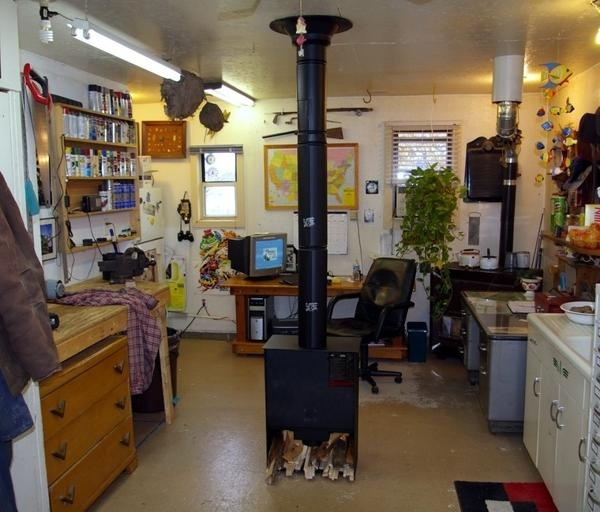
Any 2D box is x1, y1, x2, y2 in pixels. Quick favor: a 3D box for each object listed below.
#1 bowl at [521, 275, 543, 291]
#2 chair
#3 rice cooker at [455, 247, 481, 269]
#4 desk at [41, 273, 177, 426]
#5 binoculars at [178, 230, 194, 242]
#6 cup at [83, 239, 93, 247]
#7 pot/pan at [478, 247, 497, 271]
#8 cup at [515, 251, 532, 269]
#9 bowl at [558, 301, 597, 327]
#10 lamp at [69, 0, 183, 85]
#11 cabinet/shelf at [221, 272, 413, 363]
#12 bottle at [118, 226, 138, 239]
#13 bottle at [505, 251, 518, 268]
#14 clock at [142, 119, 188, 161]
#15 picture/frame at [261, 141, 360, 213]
[{"bbox_3d":[2.150,0.260,4.794,0.145,0.121,0.158,1,-4,0],"label":"bowl"},{"bbox_3d":[0.698,0.660,4.993,0.831,1.221,0.782,0,10,4],"label":"chair"},{"bbox_3d":[1.833,0.020,5.601,0.249,0.205,0.203,1,-2,8],"label":"rice cooker"},{"bbox_3d":[-1.313,0.641,3.514,0.555,0.814,1.130,0,7,4],"label":"desk"},{"bbox_3d":[-1.460,-0.242,6.532,0.211,0.160,0.059,1,10,10],"label":"binoculars"},{"bbox_3d":[-1.923,-0.116,4.659,0.061,0.048,0.064,0,-2,0],"label":"cup"},{"bbox_3d":[1.999,0.077,5.452,0.185,0.136,0.191,4,11,27],"label":"pot/pan"},{"bbox_3d":[2.342,0.044,5.415,0.150,0.207,0.193,0,-1,-19],"label":"cup"},{"bbox_3d":[1.791,0.354,3.320,0.184,0.110,0.389,4,11,28],"label":"bowl"},{"bbox_3d":[-1.177,-1.420,3.485,0.276,0.273,1.224,1,10,13],"label":"lamp"},{"bbox_3d":[0.181,0.707,6.023,1.994,1.080,0.812,-2,11,7],"label":"cabinet/shelf"},{"bbox_3d":[-1.810,-0.241,5.388,0.063,0.084,0.201,0,-1,12],"label":"bottle"},{"bbox_3d":[2.187,0.049,5.332,0.121,0.180,0.130,0,-1,0],"label":"bottle"},{"bbox_3d":[-1.678,-1.447,6.368,0.586,0.557,0.066,0,4,3],"label":"clock"},{"bbox_3d":[0.143,-0.834,5.257,1.062,0.847,0.040,0,2,6],"label":"picture/frame"}]
